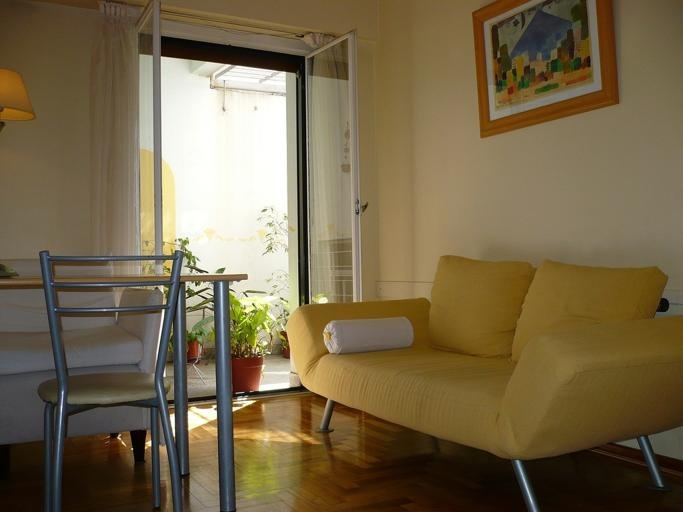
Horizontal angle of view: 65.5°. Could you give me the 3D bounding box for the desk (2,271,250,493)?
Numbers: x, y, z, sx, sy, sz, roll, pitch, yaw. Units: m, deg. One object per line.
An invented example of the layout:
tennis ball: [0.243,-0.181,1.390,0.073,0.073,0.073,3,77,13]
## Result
desk: [-0.986,0.477,2.422,0.928,1.067,1.093,1,-4,-33]

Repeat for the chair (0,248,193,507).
chair: [-0.983,0.528,2.317,0.587,0.921,1.089,0,-1,-30]
